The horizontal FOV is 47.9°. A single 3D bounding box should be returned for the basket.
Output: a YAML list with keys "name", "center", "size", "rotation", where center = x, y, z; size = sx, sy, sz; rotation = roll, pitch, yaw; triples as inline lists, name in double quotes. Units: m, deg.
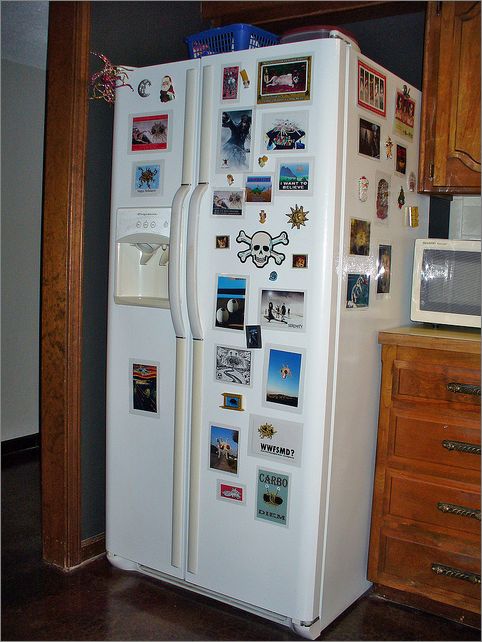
- name: "basket"
  center: [-0.051, -0.907, 1.782]
  size: [0.215, 0.086, 0.185]
  rotation: [6, 10, 42]

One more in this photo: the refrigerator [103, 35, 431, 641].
- name: "refrigerator"
  center: [0.019, 0.054, 1.808]
  size: [1.051, 1.829, 0.544]
  rotation: [2, 3, 13]
